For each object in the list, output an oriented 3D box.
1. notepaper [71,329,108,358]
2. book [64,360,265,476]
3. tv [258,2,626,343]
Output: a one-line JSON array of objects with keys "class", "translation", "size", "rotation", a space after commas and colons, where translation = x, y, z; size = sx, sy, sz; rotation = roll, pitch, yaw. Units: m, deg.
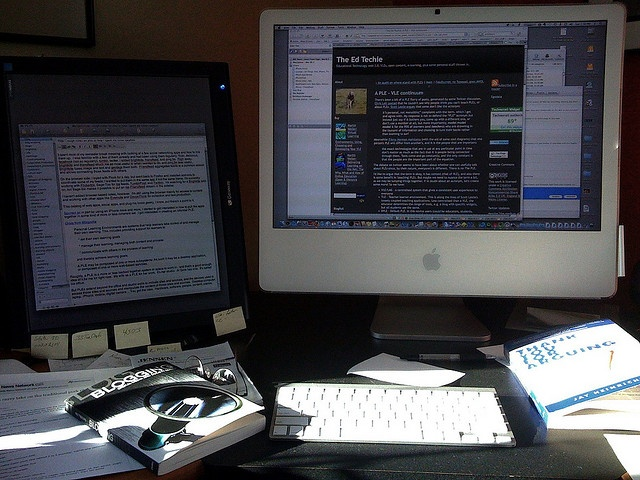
[{"class": "notepaper", "translation": [-0.464, 0.206, 1.084], "size": [0.061, 0.048, 0.021], "rotation": [-1, 0, -2]}, {"class": "book", "translation": [-0.258, 0.287, 0.901], "size": [0.276, 0.070, 0.199], "rotation": [8, 18, 38]}, {"class": "tv", "translation": [0.257, -0.165, 1.145], "size": [0.778, 0.648, 0.293], "rotation": [0, 1, 4]}]
